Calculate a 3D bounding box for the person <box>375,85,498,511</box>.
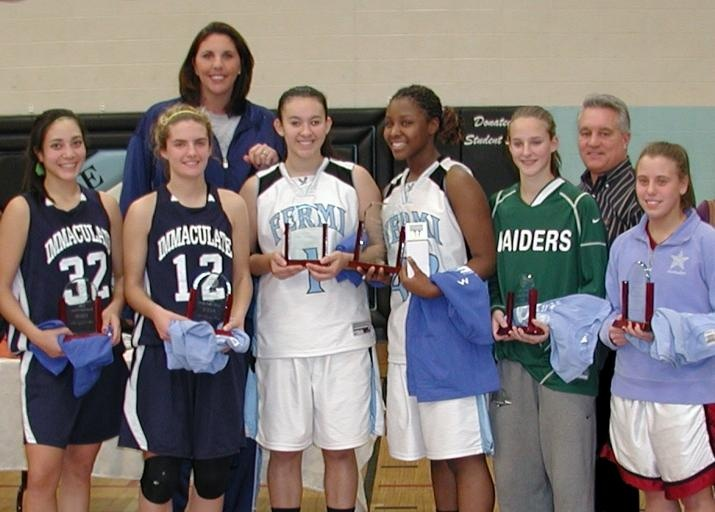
[{"bbox_3d":[0.367,0.184,3.761,0.535,1.972,0.435,-3,3,10],"label":"person"}]
